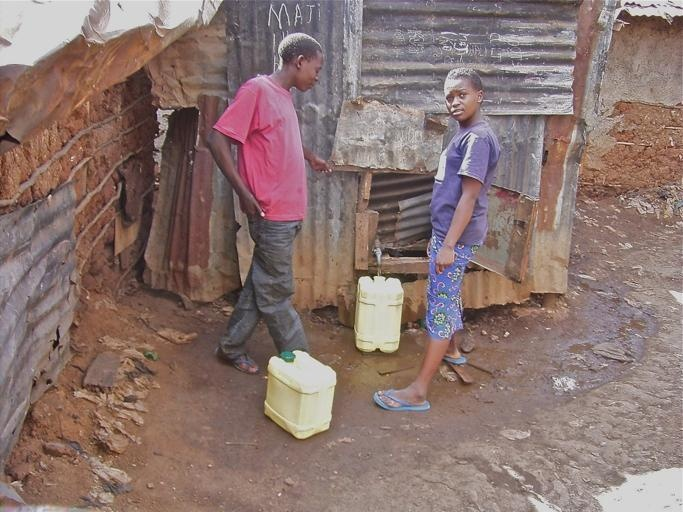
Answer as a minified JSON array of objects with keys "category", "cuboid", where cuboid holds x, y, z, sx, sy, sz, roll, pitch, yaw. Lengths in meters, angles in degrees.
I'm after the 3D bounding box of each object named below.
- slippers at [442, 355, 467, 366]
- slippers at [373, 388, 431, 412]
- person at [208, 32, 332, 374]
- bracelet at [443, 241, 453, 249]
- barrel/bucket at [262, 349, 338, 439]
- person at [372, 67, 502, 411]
[{"category":"slippers","cuboid":[1.059,0.977,5.256,0.088,0.041,0.185,-6,7,-43]},{"category":"slippers","cuboid":[0.466,1.207,4.565,0.324,0.095,0.201,9,4,-4]},{"category":"person","cuboid":[-0.620,-0.319,4.464,0.855,2.751,0.635,2,20,-2]},{"category":"bracelet","cuboid":[0.810,-0.078,4.214,0.055,0.064,0.050,-10,10,13]},{"category":"barrel/bucket","cuboid":[-0.323,1.042,4.224,0.443,0.560,0.325,20,27,39]},{"category":"person","cuboid":[0.802,-0.084,4.421,0.583,2.650,0.944,12,23,24]}]
